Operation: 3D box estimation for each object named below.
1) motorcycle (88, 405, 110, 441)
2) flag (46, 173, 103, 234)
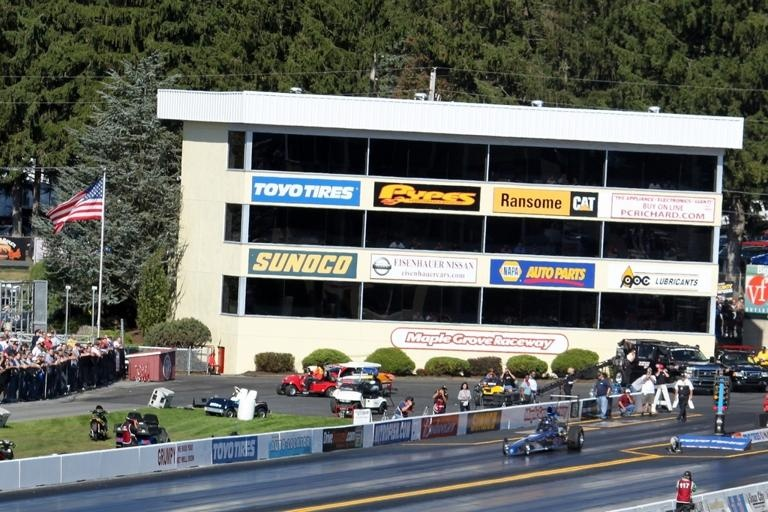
[{"bbox_3d":[-18.473,10.851,124.823,1.244,2.274,0.733,-3,0,-22],"label":"motorcycle"},{"bbox_3d":[-22.289,-3.858,140.954,3.702,4.045,1.339,-3,0,-8],"label":"flag"}]
